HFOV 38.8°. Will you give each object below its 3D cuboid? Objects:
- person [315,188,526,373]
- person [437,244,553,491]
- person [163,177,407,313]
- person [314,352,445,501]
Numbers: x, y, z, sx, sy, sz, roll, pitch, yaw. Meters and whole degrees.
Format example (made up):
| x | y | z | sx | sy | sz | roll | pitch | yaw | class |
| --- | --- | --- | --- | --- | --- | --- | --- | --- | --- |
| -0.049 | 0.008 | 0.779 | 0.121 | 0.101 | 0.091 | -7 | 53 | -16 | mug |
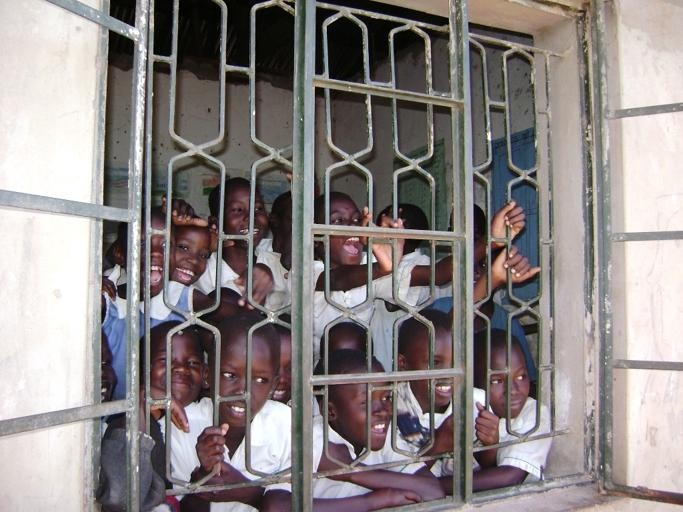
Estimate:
| x | y | z | sx | sy | sz | roll | pitch | yaw | class |
| --- | --- | --- | --- | --- | --- | --- | --- | --- | --- |
| 0.413 | 0.166 | 4.910 | 0.903 | 0.553 | 0.282 | -2 | 15 | -3 | person |
| 0.808 | 0.567 | 4.914 | 0.516 | 1.193 | 0.485 | 2 | -9 | -23 | person |
| -0.303 | -0.031 | 5.096 | 1.677 | 0.523 | 0.955 | 12 | 12 | 34 | person |
| 0.139 | 0.794 | 4.791 | 0.656 | 0.340 | 0.960 | -9 | 21 | -11 | person |
